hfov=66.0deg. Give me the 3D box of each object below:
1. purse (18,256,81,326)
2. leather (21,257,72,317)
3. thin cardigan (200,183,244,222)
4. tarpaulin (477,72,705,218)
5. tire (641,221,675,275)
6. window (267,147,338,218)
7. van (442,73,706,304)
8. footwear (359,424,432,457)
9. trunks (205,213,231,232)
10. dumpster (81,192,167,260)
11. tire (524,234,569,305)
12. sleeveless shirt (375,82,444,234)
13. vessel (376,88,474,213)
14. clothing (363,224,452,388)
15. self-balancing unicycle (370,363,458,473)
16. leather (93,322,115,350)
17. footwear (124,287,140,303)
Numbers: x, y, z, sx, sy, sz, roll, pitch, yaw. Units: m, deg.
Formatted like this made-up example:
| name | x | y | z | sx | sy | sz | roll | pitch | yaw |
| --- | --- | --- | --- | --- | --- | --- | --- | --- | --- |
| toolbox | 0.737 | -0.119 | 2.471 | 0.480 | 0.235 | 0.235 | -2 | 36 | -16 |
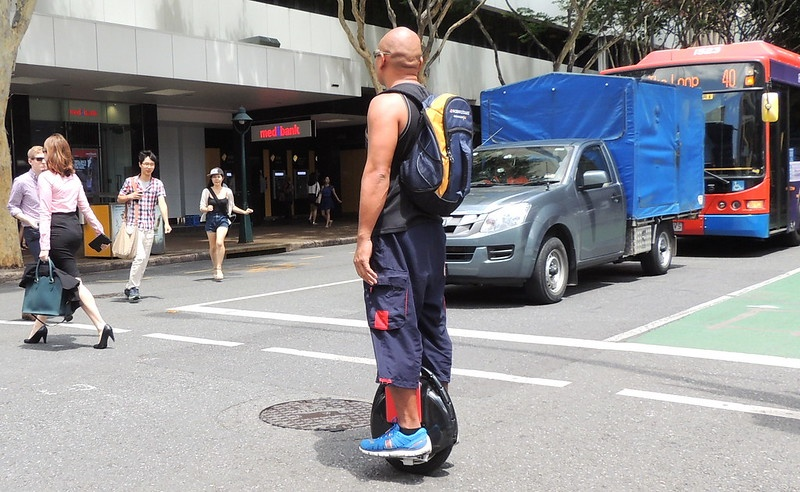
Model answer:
| name | x | y | z | sx | sy | sz | roll | pitch | yaw |
| --- | --- | --- | --- | --- | --- | --- | --- | --- | --- |
| purse | -4.500 | 0.534 | 7.872 | 0.696 | 0.702 | 0.289 | 5 | -1 | 3 |
| leather | -4.519 | 0.567 | 7.826 | 0.568 | 0.739 | 0.242 | -1 | 7 | 2 |
| thin cardigan | -3.876 | -0.846 | 13.451 | 0.882 | 0.782 | 0.594 | -1 | 8 | -24 |
| tarpaulin | 4.108 | -2.145 | 12.523 | 3.346 | 2.636 | 3.293 | 0 | -1 | -41 |
| tire | 5.011 | 0.047 | 12.066 | 0.283 | 0.966 | 0.835 | 0 | -15 | 39 |
| window | -5.837 | -3.745 | 37.893 | 4.103 | 4.144 | 1.412 | -6 | 5 | -29 |
| van | 2.805 | -1.115 | 11.764 | 2.883 | 3.708 | 6.136 | 0 | 1 | 42 |
| footwear | -0.013 | 1.412 | 4.532 | 0.536 | 0.271 | 0.215 | 1 | -12 | 7 |
| trunks | -3.953 | -0.482 | 13.359 | 0.562 | 0.547 | 0.349 | 2 | -4 | -11 |
| dumpster | -7.877 | -0.450 | 18.558 | 1.627 | 1.579 | 0.951 | -4 | 3 | -30 |
| tire | 2.359 | 0.402 | 9.872 | 0.314 | 0.996 | 0.948 | 0 | 12 | 44 |
| sleeveless shirt | 0.093 | -0.755 | 4.426 | 0.407 | 0.587 | 0.382 | -8 | 34 | -37 |
| vessel | 0.224 | -0.667 | 4.373 | 0.610 | 0.925 | 0.269 | -2 | 7 | -7 |
| clothing | 0.091 | 0.441 | 4.416 | 0.648 | 1.251 | 0.276 | -4 | 7 | -22 |
| self-balancing unicycle | 0.079 | 1.300 | 4.640 | 0.710 | 0.814 | 0.391 | -2 | 3 | 19 |
| leather | -3.747 | 1.191 | 7.976 | 0.449 | 0.363 | 0.169 | -11 | -6 | 34 |
| footwear | -4.848 | 0.899 | 11.152 | 0.441 | 0.237 | 0.151 | -4 | -5 | 43 |
